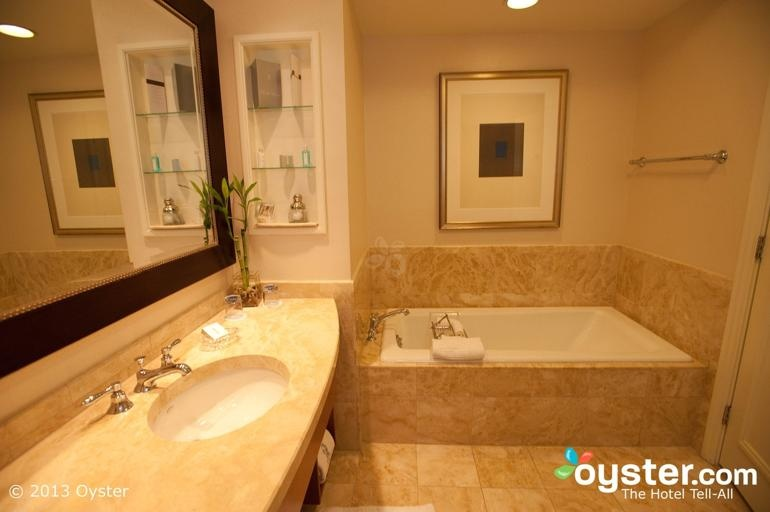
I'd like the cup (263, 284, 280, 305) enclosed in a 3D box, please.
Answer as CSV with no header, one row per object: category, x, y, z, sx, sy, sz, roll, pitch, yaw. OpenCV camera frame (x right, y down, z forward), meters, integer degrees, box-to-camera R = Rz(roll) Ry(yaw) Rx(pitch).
cup,-0.691,0.235,3.139,0.112,0.124,0.112,1,5,0

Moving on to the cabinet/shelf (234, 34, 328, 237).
cabinet/shelf,-0.624,-0.734,3.130,0.520,1.176,0.291,-1,16,-8

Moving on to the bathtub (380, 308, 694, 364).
bathtub,1.050,0.582,3.850,1.351,0.311,0.731,0,16,3

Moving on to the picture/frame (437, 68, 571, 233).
picture/frame,0.863,-0.792,3.938,0.942,1.150,0.045,5,15,28
